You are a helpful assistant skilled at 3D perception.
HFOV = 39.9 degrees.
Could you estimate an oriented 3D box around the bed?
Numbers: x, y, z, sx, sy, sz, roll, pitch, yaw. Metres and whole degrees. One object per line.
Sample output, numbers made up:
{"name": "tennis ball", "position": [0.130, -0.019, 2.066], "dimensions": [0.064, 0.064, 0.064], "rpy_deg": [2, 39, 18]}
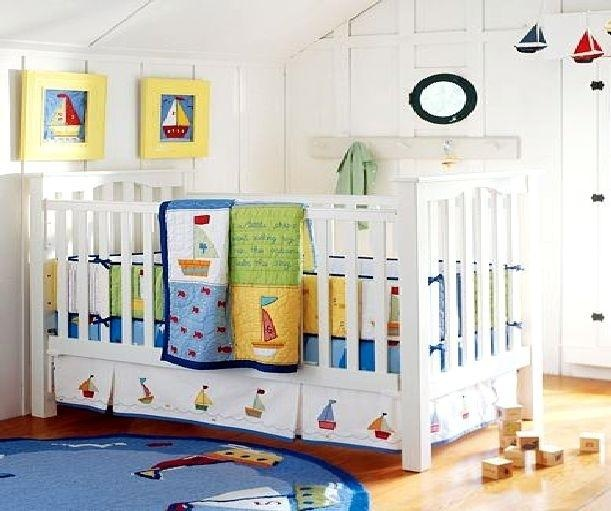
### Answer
{"name": "bed", "position": [-0.048, 0.200, 4.027], "dimensions": [2.213, 1.176, 1.037], "rpy_deg": [2, 6, 21]}

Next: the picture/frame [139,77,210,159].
{"name": "picture/frame", "position": [-0.761, -0.794, 4.896], "dimensions": [0.054, 0.433, 0.466], "rpy_deg": [8, 11, 39]}

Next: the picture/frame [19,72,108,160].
{"name": "picture/frame", "position": [-1.250, -0.708, 4.372], "dimensions": [0.457, 0.402, 0.045], "rpy_deg": [4, 6, 19]}
